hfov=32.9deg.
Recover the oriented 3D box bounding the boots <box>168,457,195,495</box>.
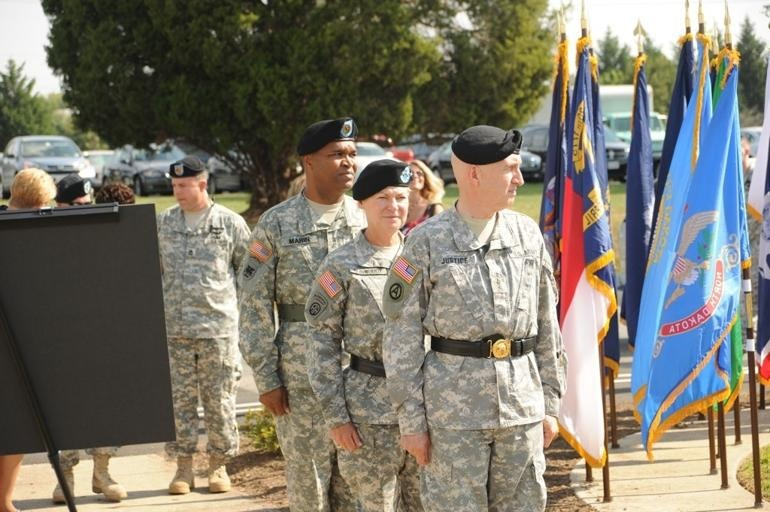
[{"bbox_3d":[-2.055,2.254,13.439,0.275,0.256,0.314,-5,3,-10],"label":"boots"}]

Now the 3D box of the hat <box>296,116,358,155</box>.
[{"bbox_3d":[-0.468,-1.103,12.317,0.492,0.235,0.614,-19,4,-37],"label":"hat"}]

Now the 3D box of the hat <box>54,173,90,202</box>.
[{"bbox_3d":[-3.288,-0.734,13.971,0.245,0.179,0.322,-16,-3,-45],"label":"hat"}]

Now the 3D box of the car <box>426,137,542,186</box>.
[{"bbox_3d":[2.607,-2.375,33.845,3.215,1.237,1.531,-3,4,6],"label":"car"}]

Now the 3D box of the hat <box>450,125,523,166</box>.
[{"bbox_3d":[0.893,-0.972,11.238,0.447,0.164,0.385,-12,36,8],"label":"hat"}]

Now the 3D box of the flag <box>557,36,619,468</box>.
[{"bbox_3d":[1.996,-0.065,12.981,0.498,4.242,0.767,-3,4,28],"label":"flag"}]

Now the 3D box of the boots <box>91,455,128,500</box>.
[{"bbox_3d":[-2.766,2.273,13.315,0.442,0.431,0.188,7,5,39],"label":"boots"}]

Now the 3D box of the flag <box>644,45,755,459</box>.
[{"bbox_3d":[3.003,-0.036,12.497,1.192,3.522,0.299,-6,3,-19],"label":"flag"}]

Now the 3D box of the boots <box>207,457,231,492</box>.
[{"bbox_3d":[-1.678,2.262,13.509,0.218,0.391,0.630,-2,-3,-11],"label":"boots"}]

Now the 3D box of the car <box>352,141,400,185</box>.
[{"bbox_3d":[-0.229,-2.266,31.120,0.978,0.810,2.144,-2,0,-11],"label":"car"}]

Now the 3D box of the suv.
[{"bbox_3d":[4.673,-2.667,32.285,1.840,1.680,3.892,-4,4,-36],"label":"suv"}]

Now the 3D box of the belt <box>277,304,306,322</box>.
[{"bbox_3d":[-0.857,0.531,12.005,0.285,0.151,0.061,-2,-1,25],"label":"belt"}]
